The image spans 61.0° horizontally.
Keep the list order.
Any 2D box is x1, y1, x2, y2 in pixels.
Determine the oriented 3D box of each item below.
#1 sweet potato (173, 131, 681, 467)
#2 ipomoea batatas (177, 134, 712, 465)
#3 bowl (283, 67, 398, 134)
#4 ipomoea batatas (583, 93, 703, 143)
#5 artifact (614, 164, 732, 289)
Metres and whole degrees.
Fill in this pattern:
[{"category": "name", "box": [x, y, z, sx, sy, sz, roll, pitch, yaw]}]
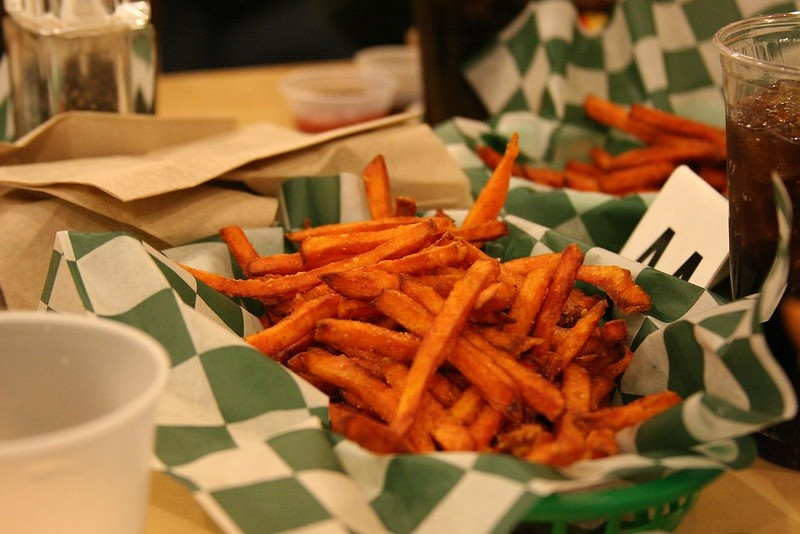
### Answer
[{"category": "sweet potato", "box": [0.103, 0.083, 1.053, 0.543, 0.174, 0.444, 16, 32, 24]}, {"category": "ipomoea batatas", "box": [0.087, 0.064, 1.025, 0.470, 0.164, 0.511, -6, 14, -42]}, {"category": "bowl", "box": [-0.168, -0.494, 1.970, 0.262, 0.092, 0.230, -8, 27, -14]}, {"category": "ipomoea batatas", "box": [0.653, -0.395, 1.813, 0.352, 0.073, 0.077, 19, 55, 26]}, {"category": "artifact", "box": [0.544, -0.080, 1.342, 0.223, 0.263, 0.152, 7, 58, -8]}]
